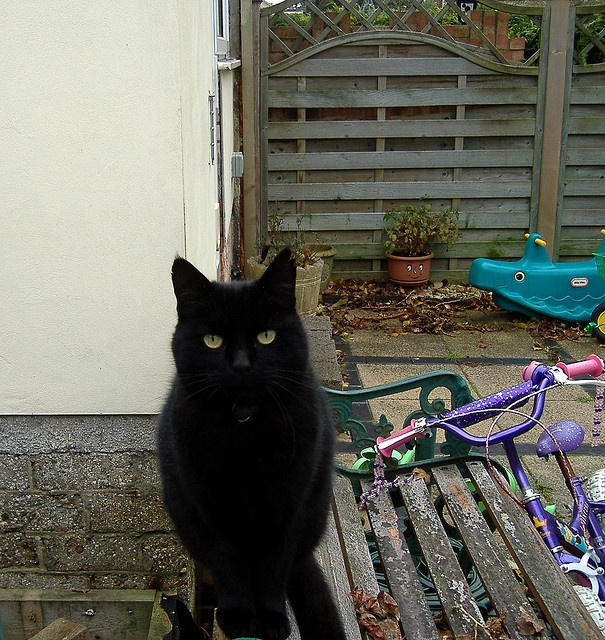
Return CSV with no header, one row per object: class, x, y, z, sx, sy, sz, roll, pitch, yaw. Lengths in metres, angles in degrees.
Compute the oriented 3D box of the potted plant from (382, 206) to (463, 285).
potted plant,1.084,-0.677,6.427,0.699,0.744,0.494,0,13,9
